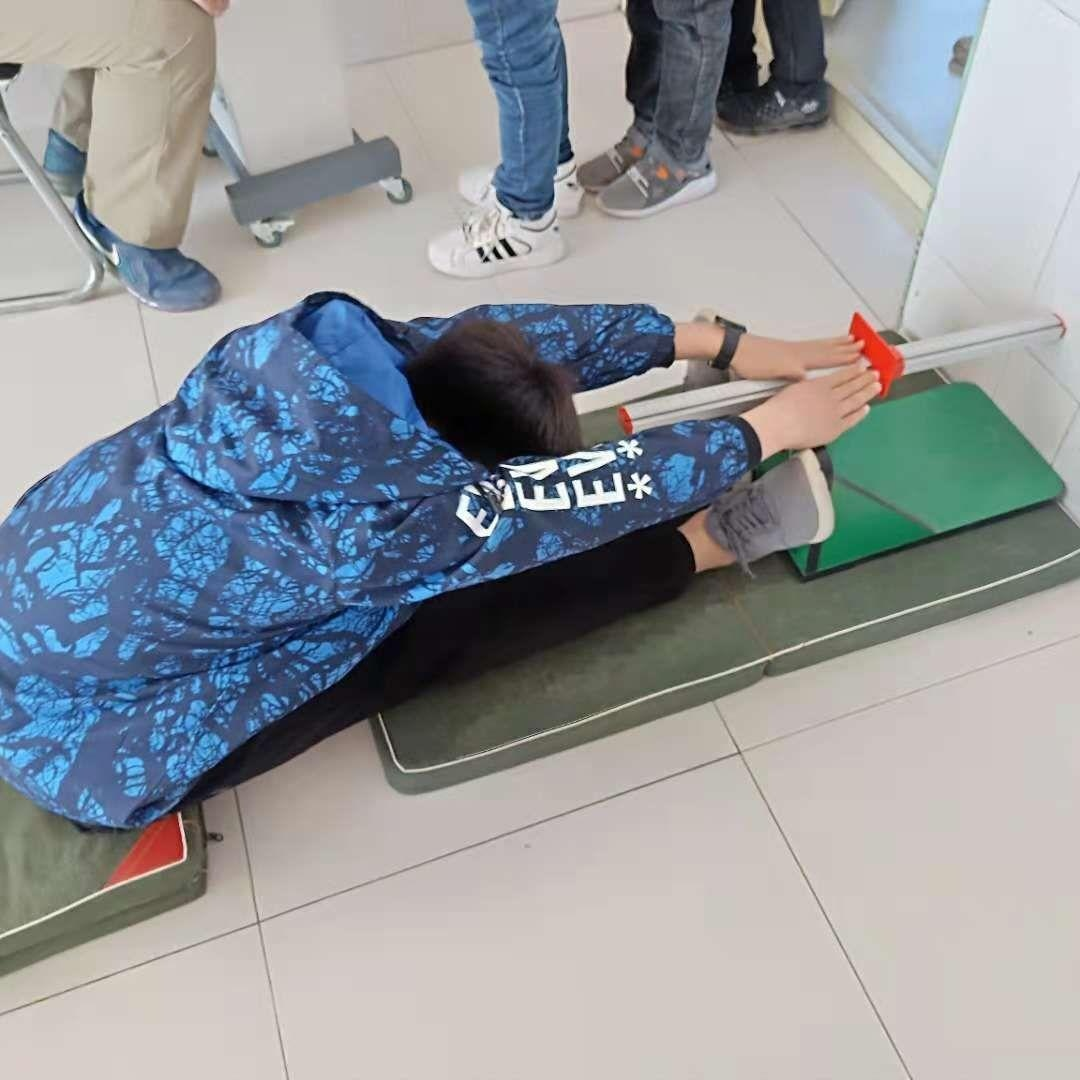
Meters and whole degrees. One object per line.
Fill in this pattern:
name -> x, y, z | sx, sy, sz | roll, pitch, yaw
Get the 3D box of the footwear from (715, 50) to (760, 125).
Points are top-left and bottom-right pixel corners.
footwear -> 0.523, -1.185, 2.705 | 0.089, 0.104, 0.226 | 12, 86, 10

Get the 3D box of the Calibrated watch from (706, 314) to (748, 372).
Calibrated watch -> 0.319, -0.351, 1.757 | 0.060, 0.078, 0.093 | 30, 77, 26
